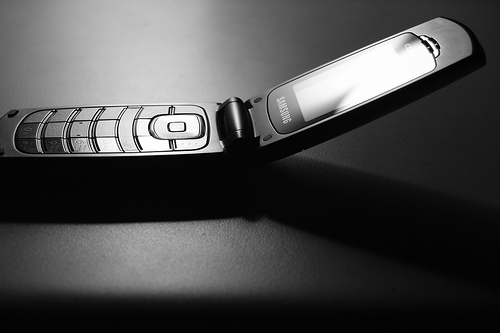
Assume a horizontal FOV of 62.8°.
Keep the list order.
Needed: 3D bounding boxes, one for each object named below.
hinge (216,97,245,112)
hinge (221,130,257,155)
[{"bbox_3d":[-0.027,-0.081,0.522,0.027,0.007,0.019,-19,-7,-44],"label":"hinge"},{"bbox_3d":[-0.012,-0.028,0.486,0.026,0.036,0.037,-4,-72,0],"label":"hinge"}]
